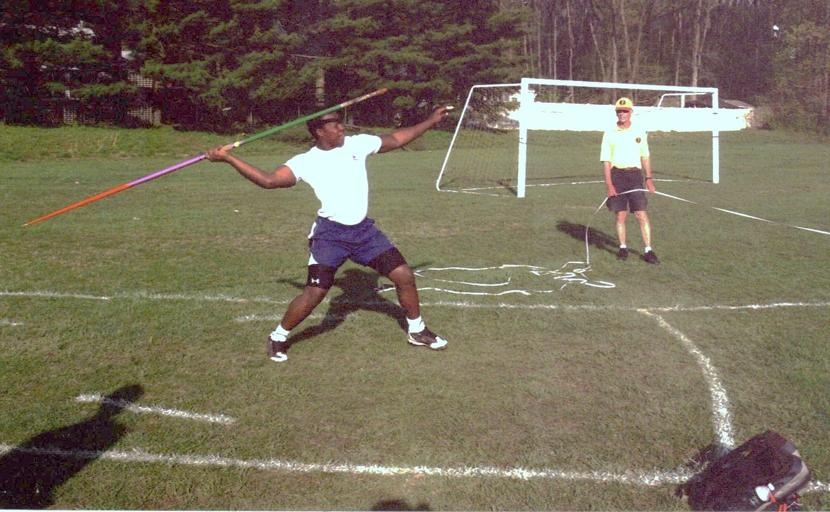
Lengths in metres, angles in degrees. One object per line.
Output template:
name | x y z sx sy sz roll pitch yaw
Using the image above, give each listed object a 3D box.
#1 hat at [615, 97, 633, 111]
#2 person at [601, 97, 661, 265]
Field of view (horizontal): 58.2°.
hat | 3.647 -2.664 13.192 0.412 0.243 0.501 6 17 22
person | 3.776 -1.346 13.182 1.013 2.802 0.788 6 16 18
